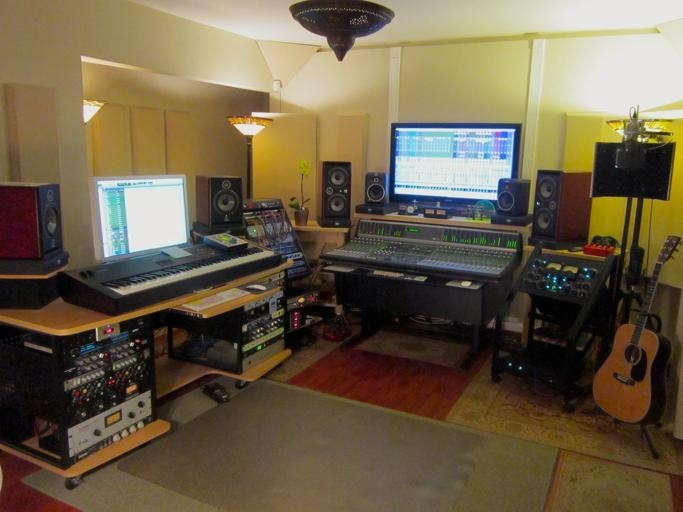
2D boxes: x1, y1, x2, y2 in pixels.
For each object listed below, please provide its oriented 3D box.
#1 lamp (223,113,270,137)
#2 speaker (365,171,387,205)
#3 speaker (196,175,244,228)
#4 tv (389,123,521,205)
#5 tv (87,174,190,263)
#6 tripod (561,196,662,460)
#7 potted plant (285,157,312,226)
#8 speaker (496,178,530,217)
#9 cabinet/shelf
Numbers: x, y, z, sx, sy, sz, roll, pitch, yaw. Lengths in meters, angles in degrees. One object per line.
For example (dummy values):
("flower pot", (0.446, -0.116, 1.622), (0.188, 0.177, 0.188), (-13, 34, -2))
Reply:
("lamp", (-0.898, -1.282, 5.112), (0.407, 0.206, 0.221), (-4, 15, -7))
("speaker", (0.336, -0.654, 4.848), (0.242, 0.320, 0.256), (-6, 17, -23))
("speaker", (-0.990, -0.440, 4.135), (0.266, 0.407, 0.412), (-5, 11, -35))
("tv", (1.026, -0.850, 4.774), (1.193, 0.741, 0.106), (7, 14, 28))
("tv", (-1.249, -0.257, 3.312), (0.709, 0.532, 0.069), (-4, 3, 17))
("tripod", (1.892, 0.560, 3.328), (0.405, 1.214, 0.587), (6, 17, 27))
("potted plant", (-0.402, -0.635, 5.143), (0.221, 0.631, 0.635), (-3, 15, -2))
("speaker", (1.436, -0.517, 4.354), (0.193, 0.306, 0.221), (15, 23, 41))
("cabinet/shelf", (0.706, 0.296, 4.497), (1.479, 1.073, 1.016), (7, 15, 29))
